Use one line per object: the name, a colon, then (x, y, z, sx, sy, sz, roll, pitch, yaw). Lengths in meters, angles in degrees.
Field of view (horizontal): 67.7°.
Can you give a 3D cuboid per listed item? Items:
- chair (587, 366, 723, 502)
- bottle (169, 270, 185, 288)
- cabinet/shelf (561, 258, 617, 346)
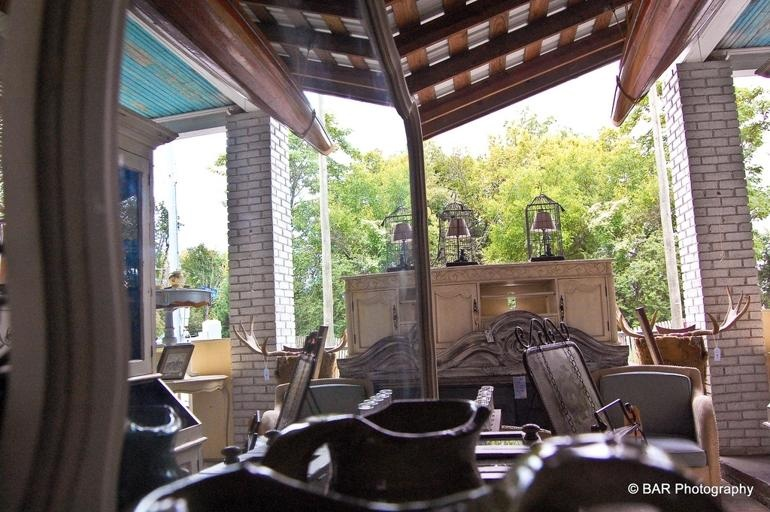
chair: (1.426, 0.927, 3.014, 0.589, 0.636, 0.616, -10, -10, 30)
bottle: (-0.196, 0.023, 0.539, 0.014, 0.012, 0.013, 3, -7, -41)
cabinet/shelf: (1.478, 0.327, 4.173, 0.432, 0.604, 0.167, -3, -7, 0)
